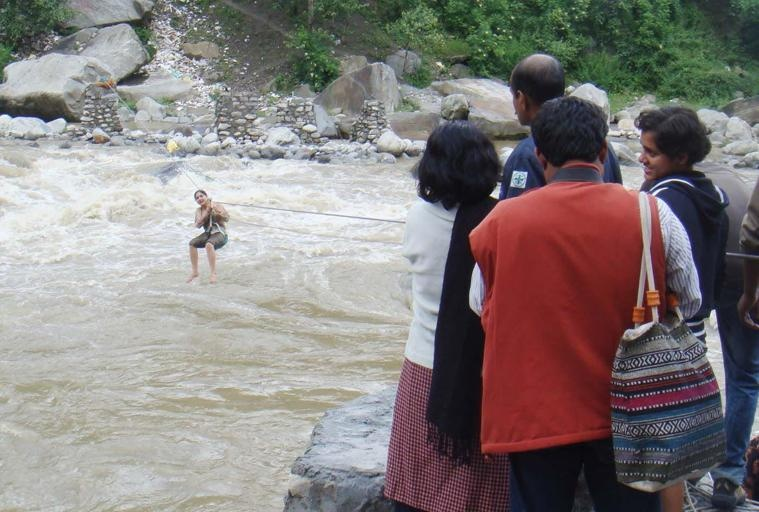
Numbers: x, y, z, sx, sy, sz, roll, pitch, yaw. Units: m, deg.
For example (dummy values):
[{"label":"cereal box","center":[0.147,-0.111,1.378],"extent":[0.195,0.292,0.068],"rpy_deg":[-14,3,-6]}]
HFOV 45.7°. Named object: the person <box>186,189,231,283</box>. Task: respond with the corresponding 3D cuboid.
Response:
[{"label":"person","center":[-2.464,-0.318,13.102],"extent":[0.561,1.305,0.643],"rpy_deg":[-1,10,-10]}]
